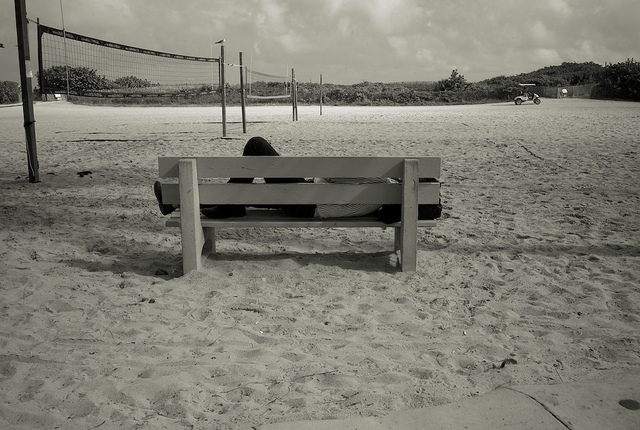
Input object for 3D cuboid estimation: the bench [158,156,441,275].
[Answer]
[{"bbox_3d":[-0.174,-0.013,6.002,2.823,1.200,1.141,0,2,1],"label":"bench"}]
